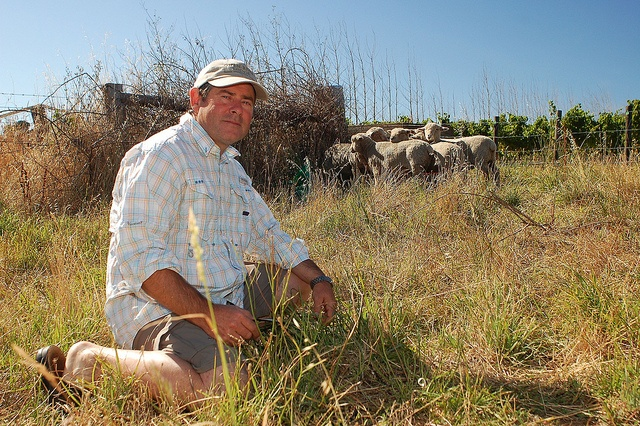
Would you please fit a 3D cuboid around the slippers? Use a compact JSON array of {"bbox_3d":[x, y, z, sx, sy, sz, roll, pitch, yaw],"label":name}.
[{"bbox_3d":[-1.575,1.042,2.669,0.165,0.486,0.160,-27,7,45],"label":"slippers"}]
